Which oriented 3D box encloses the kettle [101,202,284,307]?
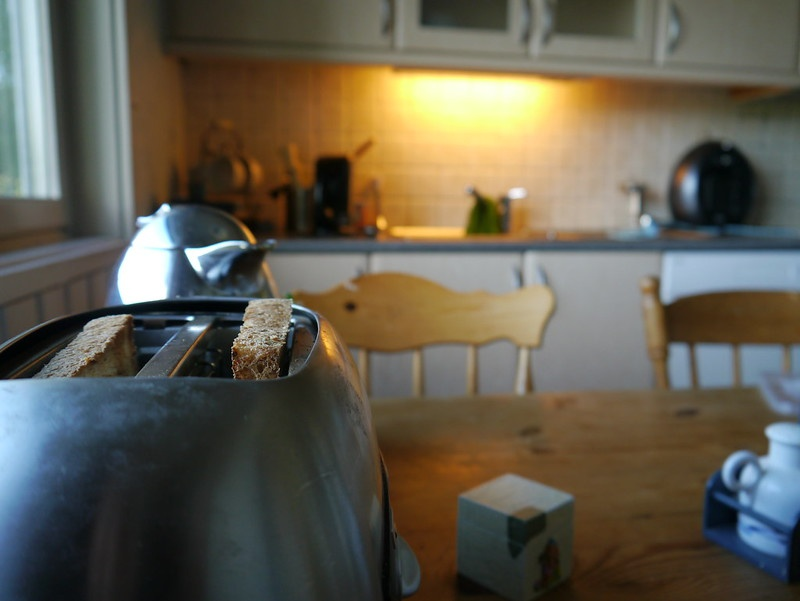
[{"bbox_3d":[-0.156,-0.032,0.514,0.095,0.095,0.081,2,6,17],"label":"kettle"}]
